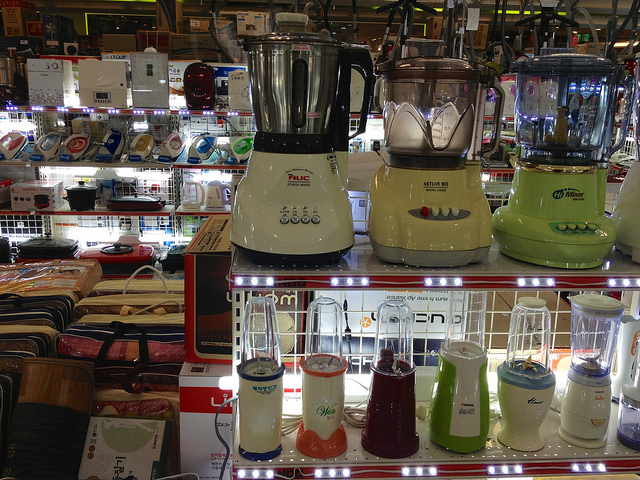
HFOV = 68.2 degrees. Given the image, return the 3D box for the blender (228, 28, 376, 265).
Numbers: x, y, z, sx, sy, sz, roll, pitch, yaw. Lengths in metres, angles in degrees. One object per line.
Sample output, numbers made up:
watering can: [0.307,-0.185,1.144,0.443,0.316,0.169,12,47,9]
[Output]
blender: [-0.049,-0.269,1.378,0.400,0.622,0.247,1,18,3]

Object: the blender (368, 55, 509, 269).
blender: [0.354,-0.213,1.433,0.394,0.559,0.264,3,19,10]

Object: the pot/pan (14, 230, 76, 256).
pot/pan: [-2.402,0.052,4.132,0.323,0.130,0.254,2,10,-3]

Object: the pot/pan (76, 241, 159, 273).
pot/pan: [-1.754,0.143,4.251,0.409,0.185,0.389,2,13,-1]

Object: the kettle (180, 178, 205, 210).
kettle: [-1.187,-0.430,4.506,0.258,0.305,0.203,2,6,-9]

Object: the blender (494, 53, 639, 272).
blender: [0.770,-0.256,1.494,0.367,0.620,0.368,9,20,25]

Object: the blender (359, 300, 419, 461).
blender: [0.230,0.433,1.503,0.186,0.440,0.260,4,19,12]

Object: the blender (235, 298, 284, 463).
blender: [-0.195,0.432,1.456,0.153,0.464,0.191,-3,18,-7]

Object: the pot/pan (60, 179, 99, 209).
pot/pan: [-2.236,-0.452,4.397,0.296,0.317,0.330,-2,9,-33]

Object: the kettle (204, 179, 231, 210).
kettle: [-0.940,-0.450,4.506,0.315,0.360,0.249,1,12,-11]

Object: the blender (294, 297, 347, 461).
blender: [0.000,0.441,1.519,0.163,0.447,0.285,1,18,2]
